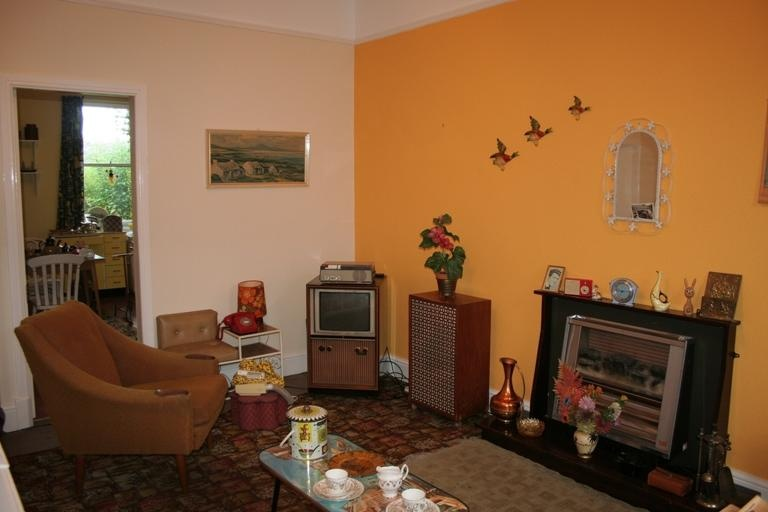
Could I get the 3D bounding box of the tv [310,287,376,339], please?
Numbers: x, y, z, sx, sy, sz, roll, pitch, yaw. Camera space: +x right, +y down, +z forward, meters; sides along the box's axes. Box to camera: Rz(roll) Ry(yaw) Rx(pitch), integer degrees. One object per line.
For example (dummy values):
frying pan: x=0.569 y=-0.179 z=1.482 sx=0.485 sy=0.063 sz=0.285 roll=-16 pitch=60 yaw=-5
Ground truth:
tv: x=-0.361 y=0.583 z=5.771 sx=0.779 sy=0.527 sz=0.443 roll=0 pitch=-1 yaw=12

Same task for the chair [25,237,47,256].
chair: x=-5.039 y=-0.134 z=7.946 sx=0.335 sy=0.304 sz=0.179 roll=0 pitch=0 yaw=17

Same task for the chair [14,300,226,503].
chair: x=-2.099 y=1.076 z=4.569 sx=1.433 sy=1.178 sz=1.032 roll=3 pitch=7 yaw=-7

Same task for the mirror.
mirror: x=2.019 y=-0.642 z=4.391 sx=0.117 sy=0.885 sz=0.498 roll=-6 pitch=10 yaw=-41

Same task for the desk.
desk: x=-3.835 y=0.296 z=6.541 sx=0.786 sy=1.022 sz=0.760 roll=-7 pitch=22 yaw=-35

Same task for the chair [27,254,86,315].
chair: x=-3.772 y=0.313 z=6.279 sx=0.556 sy=0.828 sz=0.552 roll=-5 pitch=26 yaw=-32

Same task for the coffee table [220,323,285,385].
coffee table: x=-1.332 y=0.969 z=5.435 sx=0.642 sy=0.670 sz=0.500 roll=-4 pitch=7 yaw=-37

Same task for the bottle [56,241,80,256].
bottle: x=-4.545 y=-0.108 z=7.878 sx=0.254 sy=0.185 sz=0.408 roll=3 pitch=-2 yaw=-22

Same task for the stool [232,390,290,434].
stool: x=-1.134 y=1.412 z=5.088 sx=0.432 sy=0.269 sz=0.436 roll=2 pitch=2 yaw=36

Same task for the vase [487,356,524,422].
vase: x=1.072 y=1.174 z=4.790 sx=0.270 sy=0.561 sz=0.221 roll=1 pitch=8 yaw=2

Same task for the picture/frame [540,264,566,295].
picture/frame: x=1.475 y=0.204 z=4.786 sx=0.242 sy=0.325 sz=0.044 roll=8 pitch=-20 yaw=37

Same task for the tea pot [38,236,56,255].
tea pot: x=-4.811 y=-0.142 z=7.849 sx=0.226 sy=0.125 sz=0.345 roll=0 pitch=19 yaw=-12

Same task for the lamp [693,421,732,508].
lamp: x=2.343 y=1.460 z=3.898 sx=0.223 sy=0.539 sz=0.362 roll=5 pitch=9 yaw=32

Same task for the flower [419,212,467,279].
flower: x=0.592 y=-0.113 z=5.429 sx=0.439 sy=0.597 sz=0.581 roll=2 pitch=7 yaw=9

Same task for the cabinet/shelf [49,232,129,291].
cabinet/shelf: x=-4.406 y=0.056 z=8.158 sx=0.974 sy=0.874 sz=0.512 roll=-3 pitch=4 yaw=-38

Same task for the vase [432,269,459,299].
vase: x=0.575 y=0.278 z=5.222 sx=0.243 sy=0.248 sz=0.244 roll=0 pitch=3 yaw=-8

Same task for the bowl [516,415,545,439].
bowl: x=1.243 y=1.438 z=4.642 sx=0.203 sy=0.137 sz=0.208 roll=0 pitch=7 yaw=0

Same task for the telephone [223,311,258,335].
telephone: x=-1.457 y=0.666 z=5.565 sx=0.232 sy=0.134 sz=0.282 roll=6 pitch=7 yaw=43

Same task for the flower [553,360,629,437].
flower: x=1.615 y=1.131 z=4.368 sx=0.552 sy=0.513 sz=0.384 roll=5 pitch=9 yaw=34

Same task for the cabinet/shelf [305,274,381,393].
cabinet/shelf: x=-0.396 y=0.800 z=5.937 sx=1.005 sy=1.075 sz=0.960 roll=-3 pitch=7 yaw=-31

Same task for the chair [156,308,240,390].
chair: x=-1.824 y=0.935 z=5.409 sx=0.857 sy=0.624 sz=0.825 roll=6 pitch=10 yaw=-23

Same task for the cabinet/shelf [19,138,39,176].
cabinet/shelf: x=-5.734 y=-1.598 z=8.887 sx=0.256 sy=0.524 sz=0.217 roll=-2 pitch=8 yaw=-21

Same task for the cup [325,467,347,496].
cup: x=-0.301 y=1.430 z=3.498 sx=0.129 sy=0.103 sz=0.138 roll=0 pitch=-3 yaw=0

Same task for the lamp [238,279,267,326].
lamp: x=-1.404 y=0.498 z=5.819 sx=0.310 sy=0.433 sz=0.319 roll=12 pitch=22 yaw=38

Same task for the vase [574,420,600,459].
vase: x=1.581 y=1.447 z=4.331 sx=0.170 sy=0.261 sz=0.181 roll=2 pitch=7 yaw=17

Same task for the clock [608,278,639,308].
clock: x=1.906 y=0.295 z=4.359 sx=0.090 sy=0.236 sz=0.243 roll=3 pitch=-3 yaw=-39

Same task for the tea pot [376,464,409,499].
tea pot: x=0.047 y=1.438 z=3.534 sx=0.228 sy=0.179 sz=0.168 roll=-1 pitch=-6 yaw=0
